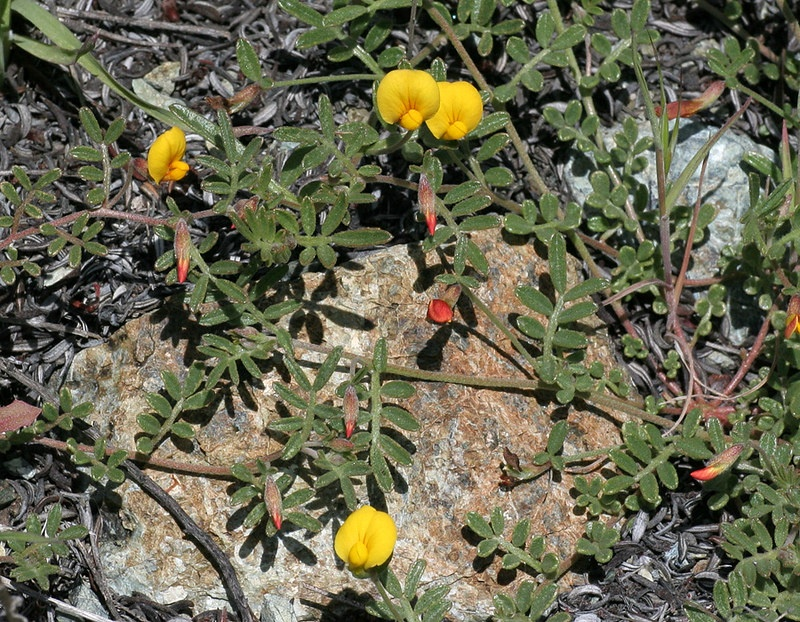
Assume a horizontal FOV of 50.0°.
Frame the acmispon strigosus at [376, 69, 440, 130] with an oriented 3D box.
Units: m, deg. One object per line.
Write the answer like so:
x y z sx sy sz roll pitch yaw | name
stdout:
0.036 -1.084 4.297 0.274 0.127 0.321 -5 104 12 | acmispon strigosus
